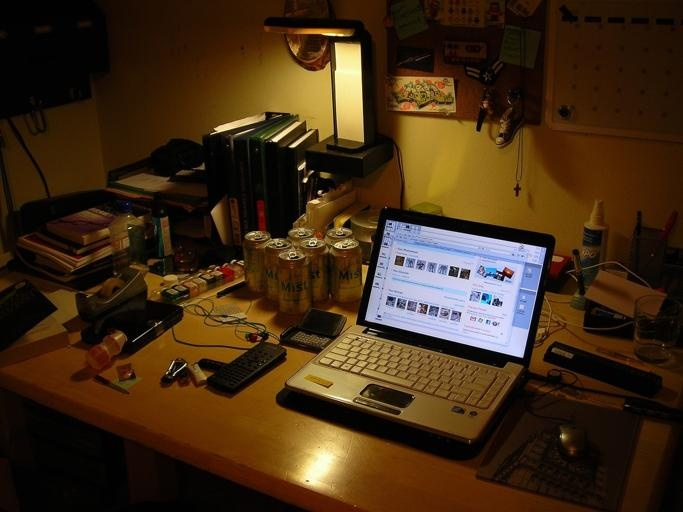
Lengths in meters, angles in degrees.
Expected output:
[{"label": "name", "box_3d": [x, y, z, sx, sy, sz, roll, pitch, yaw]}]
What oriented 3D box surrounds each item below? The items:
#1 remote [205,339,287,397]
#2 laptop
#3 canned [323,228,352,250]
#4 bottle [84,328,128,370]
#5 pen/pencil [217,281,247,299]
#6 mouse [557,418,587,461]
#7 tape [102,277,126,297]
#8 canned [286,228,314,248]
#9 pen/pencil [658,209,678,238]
[{"label": "remote", "box_3d": [-0.227, 0.266, 1.328, 0.079, 0.025, 0.170, 18, 29, 28]}, {"label": "laptop", "box_3d": [0.214, 0.172, 1.278, 0.535, 0.352, 0.552, 17, 31, 32]}, {"label": "canned", "box_3d": [-0.001, -0.057, 1.628, 0.061, 0.057, 0.062, -4, 15, -9]}, {"label": "bottle", "box_3d": [-0.581, 0.235, 1.361, 0.055, 0.050, 0.116, 17, 30, 7]}, {"label": "pen/pencil", "box_3d": [-0.331, 0.105, 1.670, 0.017, 0.016, 0.117, 29, 27, 20]}, {"label": "mouse", "box_3d": [0.464, 0.372, 1.096, 0.056, 0.029, 0.084, 0, 15, 29]}, {"label": "tape", "box_3d": [-0.618, 0.087, 1.498, 0.023, 0.041, 0.039, 25, 28, 4]}, {"label": "canned", "box_3d": [-0.129, -0.054, 1.620, 0.056, 0.059, 0.058, 1, 13, 0]}, {"label": "pen/pencil", "box_3d": [0.925, -0.092, 1.548, 0.021, 0.082, 0.022, 19, 17, 7]}]
